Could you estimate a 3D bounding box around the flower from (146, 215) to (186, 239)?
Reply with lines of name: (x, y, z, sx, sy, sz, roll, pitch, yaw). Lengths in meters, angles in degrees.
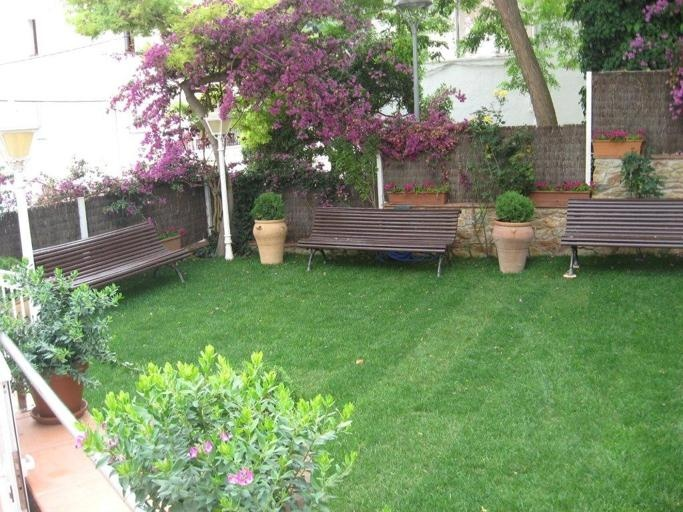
flower: (-3.507, -0.556, 12.020, 0.521, 0.651, 0.367, -3, 15, -1)

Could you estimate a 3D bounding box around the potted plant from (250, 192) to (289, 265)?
potted plant: (-1.348, -0.516, 11.197, 0.605, 1.345, 0.366, -7, 5, -10)

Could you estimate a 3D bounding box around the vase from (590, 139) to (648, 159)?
vase: (4.842, -1.876, 10.464, 0.577, 0.301, 0.421, 2, 7, 24)

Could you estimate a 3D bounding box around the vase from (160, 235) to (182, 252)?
vase: (-3.434, -0.283, 11.949, 0.308, 0.387, 0.395, 0, 8, 43)

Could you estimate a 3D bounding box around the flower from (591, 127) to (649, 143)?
flower: (4.902, -2.137, 10.518, 0.601, 0.230, 0.423, 2, 13, 21)
